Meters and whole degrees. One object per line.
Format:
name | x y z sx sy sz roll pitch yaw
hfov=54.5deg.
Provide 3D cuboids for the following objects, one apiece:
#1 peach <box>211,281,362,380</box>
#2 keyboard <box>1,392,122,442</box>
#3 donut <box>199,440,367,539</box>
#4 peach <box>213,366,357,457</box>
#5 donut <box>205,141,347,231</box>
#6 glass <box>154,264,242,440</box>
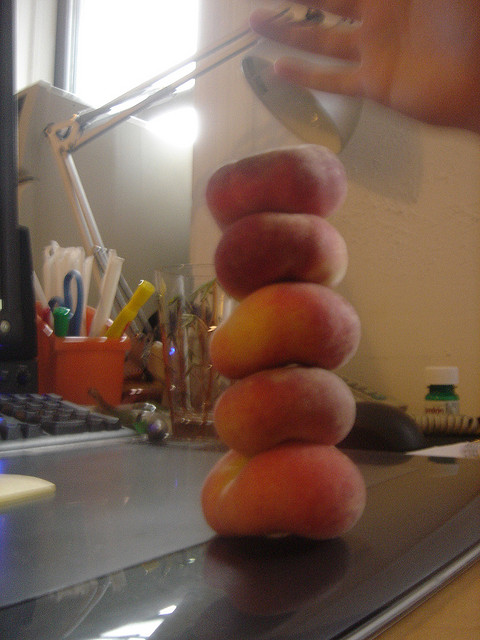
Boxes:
peach | 0.019 0.003 0.180 0.055 0.034 0.045 0 -11 -1
keyboard | -0.222 0.100 0.507 0.165 0.041 0.122 -7 -13 43
donut | 0.013 0.062 0.168 0.061 0.038 0.027 -1 -10 13
peach | 0.019 0.034 0.182 0.060 0.036 0.046 -3 -5 -17
donut | 0.017 -0.057 0.191 0.038 0.028 0.067 -11 15 -42
glass | -0.047 0.027 0.518 0.060 0.200 0.072 -8 14 -44
